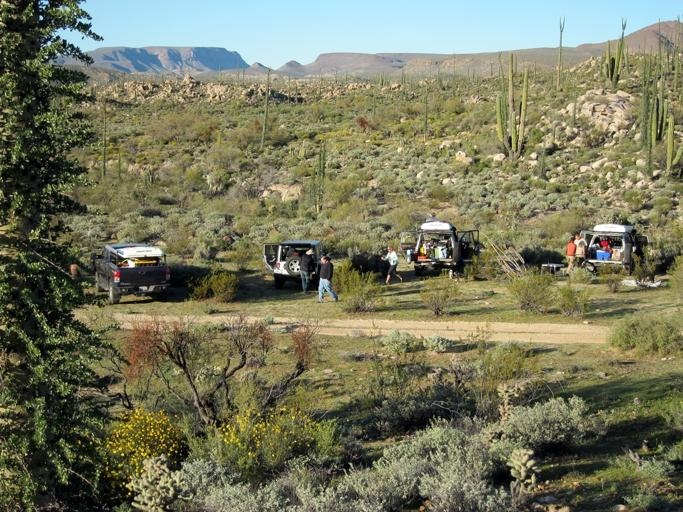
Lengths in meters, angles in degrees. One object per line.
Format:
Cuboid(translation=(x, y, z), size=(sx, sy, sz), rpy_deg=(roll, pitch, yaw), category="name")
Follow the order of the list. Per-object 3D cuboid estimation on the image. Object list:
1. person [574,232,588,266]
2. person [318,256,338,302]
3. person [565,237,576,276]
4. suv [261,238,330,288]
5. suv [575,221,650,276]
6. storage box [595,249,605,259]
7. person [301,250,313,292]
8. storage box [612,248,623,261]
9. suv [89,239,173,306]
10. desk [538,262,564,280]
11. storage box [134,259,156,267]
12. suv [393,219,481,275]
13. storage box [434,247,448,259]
Cuboid(translation=(8.247, -0.131, 31.054), size=(0.304, 0.943, 0.680), rpy_deg=(3, -1, 3), category="person")
Cuboid(translation=(-0.469, 0.681, 28.426), size=(0.609, 1.405, 2.423), rpy_deg=(-3, 3, -1), category="person")
Cuboid(translation=(7.928, 0.085, 31.002), size=(0.307, 1.066, 0.964), rpy_deg=(-3, 3, 15), category="person")
Cuboid(translation=(-1.717, 0.269, 30.683), size=(1.397, 1.129, 1.955), rpy_deg=(1, 10, 6), category="suv")
Cuboid(translation=(9.363, -0.308, 30.735), size=(1.397, 1.147, 1.967), rpy_deg=(5, 17, 25), category="suv")
Cuboid(translation=(8.880, 0.034, 30.806), size=(0.419, 0.488, 0.237), rpy_deg=(-2, -5, 35), category="storage box")
Cuboid(translation=(-1.131, 0.529, 29.351), size=(0.456, 1.427, 1.179), rpy_deg=(-3, 2, -3), category="person")
Cuboid(translation=(9.280, -0.007, 30.278), size=(0.198, 0.418, 0.375), rpy_deg=(6, -4, -29), category="storage box")
Cuboid(translation=(-6.661, 0.427, 28.141), size=(1.484, 1.341, 2.793), rpy_deg=(-1, 13, -23), category="suv")
Cuboid(translation=(7.414, 0.501, 31.344), size=(0.763, 0.457, 1.744), rpy_deg=(-3, 3, 14), category="desk")
Cuboid(translation=(-5.905, 0.204, 27.208), size=(0.647, 0.176, 0.150), rpy_deg=(-5, 3, -10), category="storage box")
Cuboid(translation=(3.540, -0.273, 31.925), size=(2.427, 1.958, 2.141), rpy_deg=(-4, 3, -6), category="suv")
Cuboid(translation=(3.503, -0.094, 31.555), size=(0.525, 0.623, 0.333), rpy_deg=(0, 3, 14), category="storage box")
